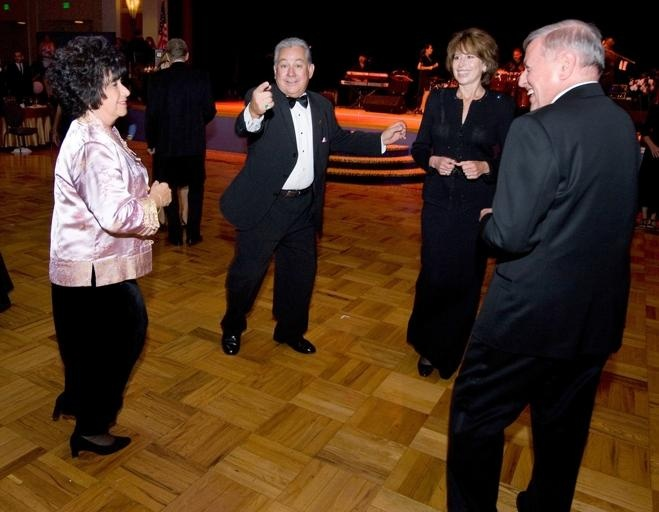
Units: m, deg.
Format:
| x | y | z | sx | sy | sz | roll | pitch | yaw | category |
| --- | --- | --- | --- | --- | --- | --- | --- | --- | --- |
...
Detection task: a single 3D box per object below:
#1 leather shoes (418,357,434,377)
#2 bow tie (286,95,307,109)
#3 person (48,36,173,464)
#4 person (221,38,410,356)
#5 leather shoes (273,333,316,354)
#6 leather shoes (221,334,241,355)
| x | y | z | sx | sy | sz | roll | pitch | yaw | category |
| --- | --- | --- | --- | --- | --- | --- | --- | --- | --- |
| 0.545 | 0.642 | 2.909 | 0.062 | 0.118 | 0.029 | 2 | -4 | 18 | leather shoes |
| -0.173 | -0.822 | 2.699 | 0.125 | 0.069 | 0.034 | -10 | 22 | -31 | bow tie |
| -0.920 | 0.032 | 2.005 | 0.536 | 1.688 | 0.331 | 5 | 19 | 10 | person |
| -0.239 | -0.290 | 2.899 | 0.769 | 1.774 | 0.539 | -15 | 25 | -40 | person |
| -0.193 | 0.543 | 3.102 | 0.283 | 0.115 | 0.102 | 9 | 29 | 14 | leather shoes |
| -0.576 | 0.522 | 3.042 | 0.077 | 0.131 | 0.138 | -1 | 45 | -6 | leather shoes |
